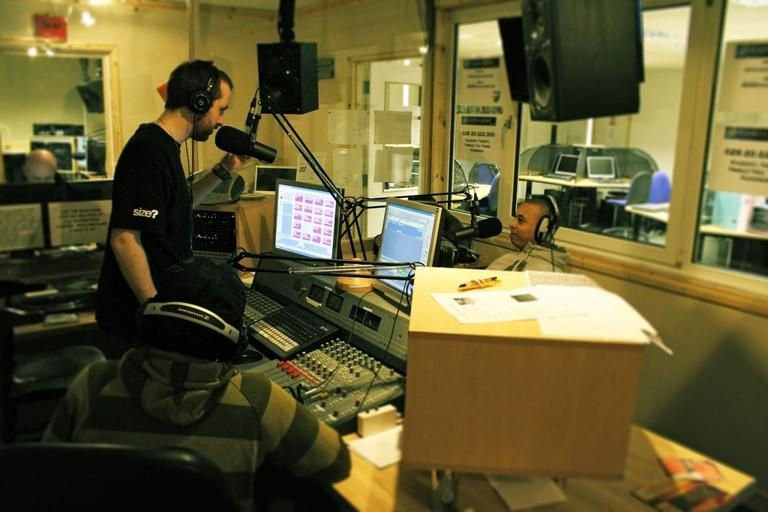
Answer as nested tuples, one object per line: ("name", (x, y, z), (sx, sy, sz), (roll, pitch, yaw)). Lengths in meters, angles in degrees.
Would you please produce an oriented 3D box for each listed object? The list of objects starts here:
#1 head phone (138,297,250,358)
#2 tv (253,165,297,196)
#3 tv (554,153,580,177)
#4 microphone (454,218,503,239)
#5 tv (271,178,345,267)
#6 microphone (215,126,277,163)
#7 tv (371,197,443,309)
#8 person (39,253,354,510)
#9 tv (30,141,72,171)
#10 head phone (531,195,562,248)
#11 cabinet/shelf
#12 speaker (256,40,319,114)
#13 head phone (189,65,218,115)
("head phone", (-0.610, 0.193, 1.966), (0.356, 0.140, 0.397), (1, -2, -25))
("tv", (-0.759, -0.526, 4.230), (0.374, 0.239, 0.019), (1, -17, -21))
("tv", (1.458, -0.724, 4.790), (0.238, 0.202, 0.060), (4, -1, -24))
("microphone", (0.511, -0.137, 3.229), (0.230, 0.098, 0.120), (-18, 21, -24))
("tv", (-0.413, -0.172, 3.297), (0.059, 0.364, 0.489), (-4, 11, -44))
("microphone", (-0.619, -0.496, 2.774), (0.296, 0.119, 0.133), (20, 8, -31))
("tv", (0.107, -0.005, 2.664), (0.085, 0.554, 0.492), (12, 2, -27))
("person", (-0.577, 0.428, 2.069), (0.681, 0.451, 0.798), (22, -35, -5))
("tv", (-2.002, -0.596, 3.617), (0.209, 0.186, 0.109), (-2, 5, -15))
("head phone", (0.863, -0.177, 3.221), (0.115, 0.246, 0.289), (9, 10, -9))
("cabinet/shelf", (0.410, 0.315, 1.855), (0.622, 0.360, 0.613), (2, 11, 2))
("speaker", (-0.464, -0.877, 2.970), (0.281, 0.339, 0.140), (-3, 15, -8))
("head phone", (-0.814, -0.728, 2.686), (0.075, 0.186, 0.195), (-4, 6, -17))
